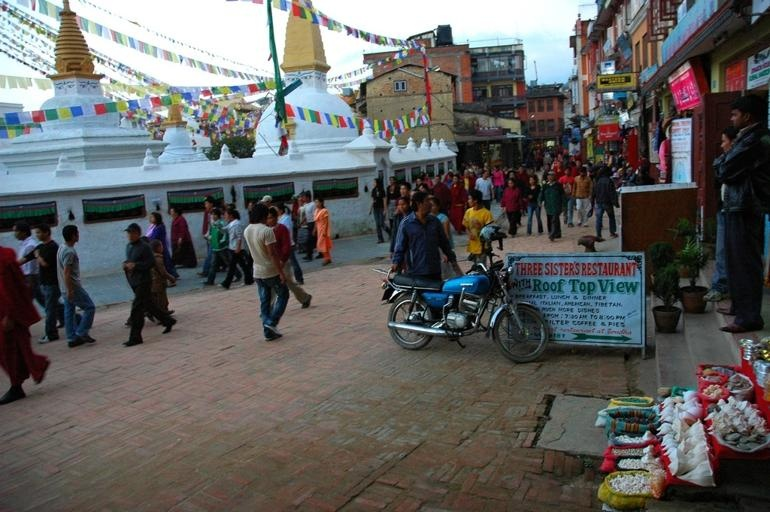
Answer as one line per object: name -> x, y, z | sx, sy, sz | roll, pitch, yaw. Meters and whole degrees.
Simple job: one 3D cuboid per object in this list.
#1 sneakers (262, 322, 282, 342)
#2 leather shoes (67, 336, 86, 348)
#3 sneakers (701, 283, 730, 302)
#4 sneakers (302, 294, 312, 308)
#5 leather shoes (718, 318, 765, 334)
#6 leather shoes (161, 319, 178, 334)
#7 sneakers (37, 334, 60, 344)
sneakers -> -1.997, 1.338, 8.928 | 0.189, 0.185, 0.460 | -14, -34, 22
leather shoes -> -5.833, 1.602, 9.597 | 0.137, 0.149, 0.388 | 10, 16, 38
sneakers -> 4.743, 0.529, 7.166 | 0.429, 0.168, 0.141 | -3, 6, -14
sneakers -> -1.651, 0.967, 10.716 | 0.121, 0.318, 0.141 | 17, -8, -4
leather shoes -> 4.174, 0.803, 5.902 | 0.498, 0.118, 0.174 | -2, 9, 7
leather shoes -> -4.269, 1.419, 10.007 | 0.208, 0.443, 0.153 | 0, 37, -44
sneakers -> -6.730, 1.635, 10.093 | 0.462, 0.173, 0.148 | 3, 2, 4
